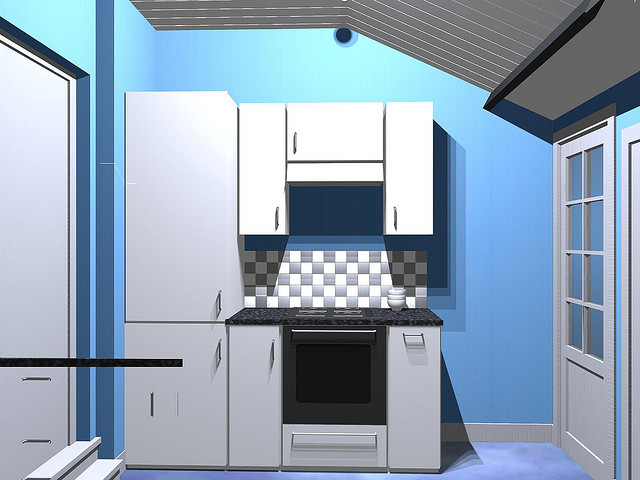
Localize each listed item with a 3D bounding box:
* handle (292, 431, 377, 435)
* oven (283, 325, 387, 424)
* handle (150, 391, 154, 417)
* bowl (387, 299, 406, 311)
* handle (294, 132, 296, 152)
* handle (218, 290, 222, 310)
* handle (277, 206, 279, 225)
[{"bbox_3d":[0.108,1.393,4.151,0.602,0.023,0.005,0,-6,2],"label":"handle"},{"bbox_3d":[0.098,0.878,4.420,0.851,0.909,0.619,0,-13,1],"label":"oven"},{"bbox_3d":[-1.212,1.179,4.164,0.027,0.180,0.020,1,-6,-7],"label":"handle"},{"bbox_3d":[0.587,0.492,4.438,0.090,0.068,0.096,0,-6,0],"label":"bowl"},{"bbox_3d":[-0.184,-0.732,4.278,0.010,0.134,0.014,0,-6,-3],"label":"handle"},{"bbox_3d":[-0.718,0.428,4.177,0.018,0.140,0.013,0,-6,-3],"label":"handle"},{"bbox_3d":[-0.310,-0.189,4.293,0.010,0.134,0.017,0,-6,-4],"label":"handle"}]
